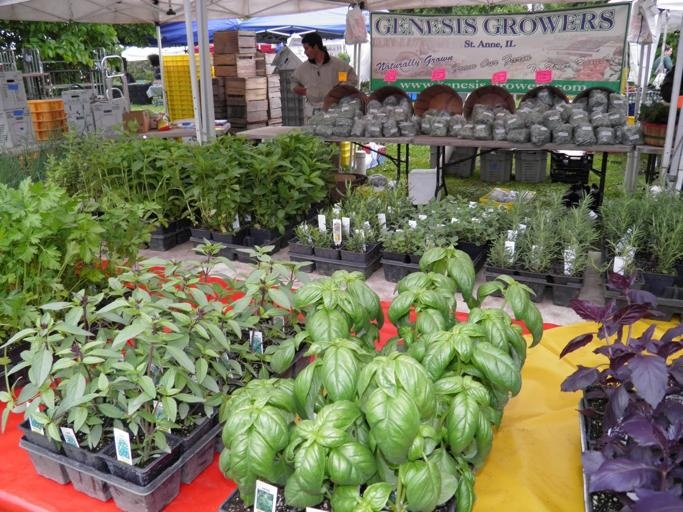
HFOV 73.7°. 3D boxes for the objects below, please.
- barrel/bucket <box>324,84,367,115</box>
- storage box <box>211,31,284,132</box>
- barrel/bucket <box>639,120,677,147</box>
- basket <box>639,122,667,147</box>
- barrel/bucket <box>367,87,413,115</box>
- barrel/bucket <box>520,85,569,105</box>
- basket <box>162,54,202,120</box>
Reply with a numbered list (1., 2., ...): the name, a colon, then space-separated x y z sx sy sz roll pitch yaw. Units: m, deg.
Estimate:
1. barrel/bucket: 0.088 -2.473 6.994 0.603 0.586 0.446 12 24 25
2. storage box: -2.260 -4.130 10.765 1.578 2.250 0.950 -6 15 -23
3. barrel/bucket: 3.493 -1.375 5.065 0.283 0.204 0.265 0 10 0
4. basket: 3.456 -1.364 5.076 0.264 0.189 0.245 3 13 13
5. barrel/bucket: 0.708 -2.300 6.679 0.723 0.410 0.516 5 14 20
6. barrel/bucket: 2.801 -2.235 6.238 0.443 0.148 0.425 -2 11 0
7. basket: -3.990 -4.173 11.177 0.573 1.622 0.823 -5 15 -18
